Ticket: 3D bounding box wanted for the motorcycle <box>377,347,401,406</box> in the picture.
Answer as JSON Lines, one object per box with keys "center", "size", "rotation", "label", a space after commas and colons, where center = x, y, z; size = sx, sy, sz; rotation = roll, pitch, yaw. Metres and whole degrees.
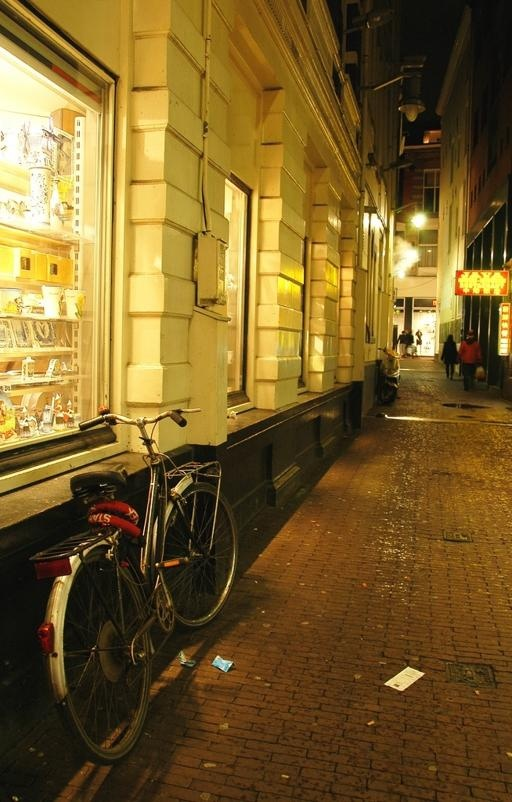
{"center": [3.931, -0.868, 16.851], "size": [0.631, 1.145, 1.575], "rotation": [2, 15, 15], "label": "motorcycle"}
